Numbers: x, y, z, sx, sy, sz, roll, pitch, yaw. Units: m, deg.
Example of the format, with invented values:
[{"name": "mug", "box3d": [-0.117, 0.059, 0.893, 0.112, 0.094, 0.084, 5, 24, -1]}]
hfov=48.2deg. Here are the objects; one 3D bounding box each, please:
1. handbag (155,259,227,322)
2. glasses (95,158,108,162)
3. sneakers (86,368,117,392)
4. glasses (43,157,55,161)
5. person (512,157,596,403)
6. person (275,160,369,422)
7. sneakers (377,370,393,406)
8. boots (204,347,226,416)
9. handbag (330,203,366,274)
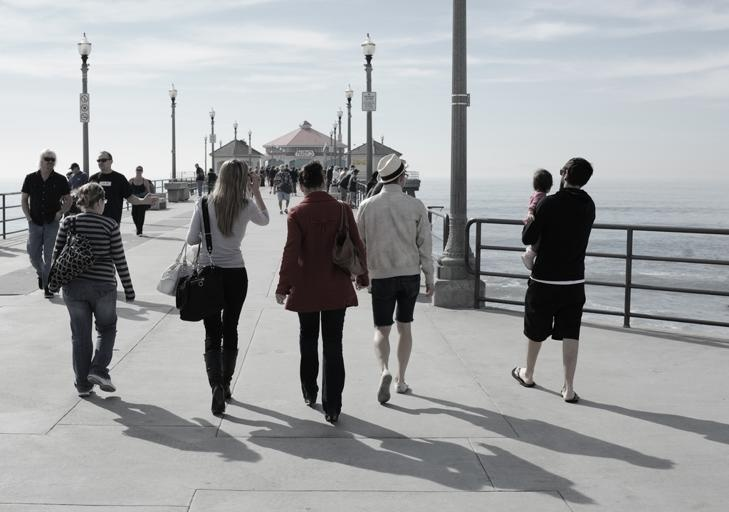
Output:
[{"name": "handbag", "box3d": [-1.680, 0.352, 7.956, 0.616, 0.513, 0.369, 8, 13, 33]}, {"name": "glasses", "box3d": [-4.042, -1.464, 12.512, 0.139, 0.063, 0.211, -3, 12, -17]}, {"name": "sneakers", "box3d": [-2.644, 1.253, 8.229, 0.139, 0.195, 0.387, -3, -32, 21]}, {"name": "glasses", "box3d": [-4.863, -1.478, 12.540, 0.166, 0.071, 0.069, -10, 15, -42]}, {"name": "person", "box3d": [1.969, 0.236, 8.409, 0.705, 2.470, 0.476, 3, 11, 15]}, {"name": "person", "box3d": [-0.410, 0.345, 7.892, 0.874, 2.434, 0.700, 1, 10, 1]}, {"name": "sneakers", "box3d": [0.207, 1.340, 8.292, 0.134, 0.346, 0.143, 4, 2, -5]}, {"name": "boots", "box3d": [-1.467, 1.243, 7.995, 0.186, 0.594, 0.313, -2, 11, -11]}, {"name": "handbag", "box3d": [-0.148, -0.111, 7.786, 0.263, 0.714, 0.265, 4, 11, 21]}]
